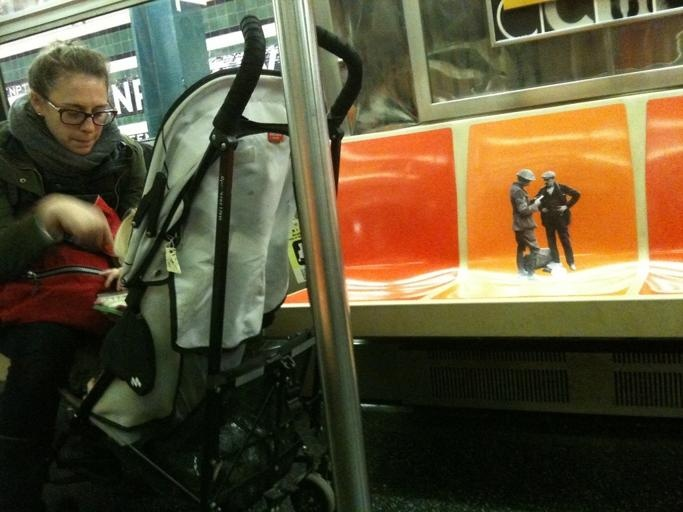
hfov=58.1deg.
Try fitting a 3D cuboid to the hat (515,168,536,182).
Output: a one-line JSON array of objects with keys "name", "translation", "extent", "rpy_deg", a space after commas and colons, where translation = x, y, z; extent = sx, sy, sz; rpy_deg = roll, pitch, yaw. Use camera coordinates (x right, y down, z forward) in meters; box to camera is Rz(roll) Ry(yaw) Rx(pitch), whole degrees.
[{"name": "hat", "translation": [0.773, -0.335, 2.546], "extent": [0.060, 0.029, 0.046], "rpy_deg": [12, 8, 24]}]
